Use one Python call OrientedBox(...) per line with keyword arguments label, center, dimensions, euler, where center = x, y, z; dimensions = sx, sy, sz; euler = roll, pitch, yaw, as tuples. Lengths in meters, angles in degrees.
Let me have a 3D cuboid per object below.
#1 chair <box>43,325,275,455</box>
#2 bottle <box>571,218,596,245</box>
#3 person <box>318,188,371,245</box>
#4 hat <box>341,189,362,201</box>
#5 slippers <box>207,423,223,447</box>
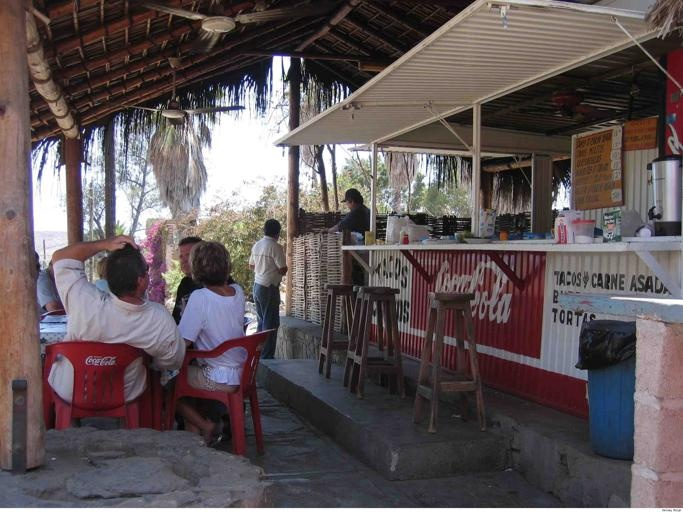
OrientedBox(label="chair", center=(-1.442, 1.072, 5.270), dimensions=(1.414, 1.076, 0.910), euler=(2, -10, -1))
OrientedBox(label="bottle", center=(1.950, -0.201, 5.329), dimensions=(0.170, 0.205, 0.178), euler=(0, -8, 7))
OrientedBox(label="person", center=(0.149, -0.418, 10.543), dimensions=(0.654, 1.381, 0.612), euler=(1, 11, 28))
OrientedBox(label="hat", center=(0.187, -0.973, 10.381), dimensions=(0.179, 0.255, 0.243), euler=(3, 10, -8))
OrientedBox(label="slippers", center=(-1.118, 1.591, 5.732), dimensions=(0.084, 0.138, 0.300), euler=(-4, 14, -2))
